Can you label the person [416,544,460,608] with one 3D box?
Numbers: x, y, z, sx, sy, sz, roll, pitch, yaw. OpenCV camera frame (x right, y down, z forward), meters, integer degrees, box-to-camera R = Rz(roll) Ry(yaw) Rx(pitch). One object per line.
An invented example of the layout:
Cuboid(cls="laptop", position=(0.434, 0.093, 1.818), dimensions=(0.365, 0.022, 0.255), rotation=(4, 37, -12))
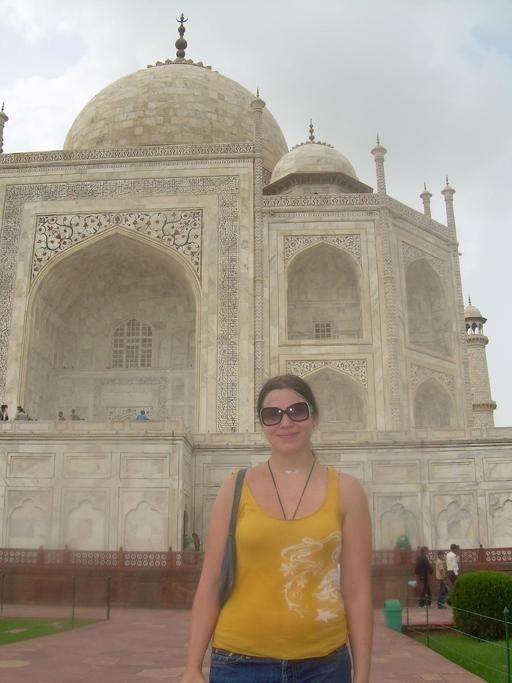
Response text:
Cuboid(cls="person", position=(2.223, 2.845, 8.356), dimensions=(0.552, 0.628, 1.484), rotation=(-2, -7, 16))
